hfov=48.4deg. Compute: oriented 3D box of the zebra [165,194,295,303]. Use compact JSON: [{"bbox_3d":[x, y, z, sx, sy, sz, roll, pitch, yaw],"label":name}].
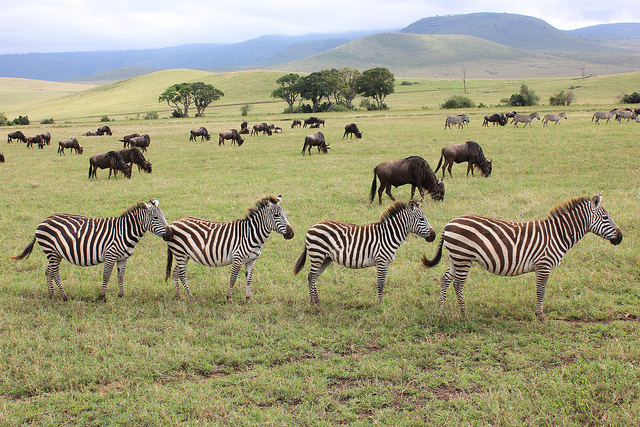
[{"bbox_3d":[-3.478,1.522,27.756,4.110,3.422,1.132,1,0,1],"label":"zebra"}]
